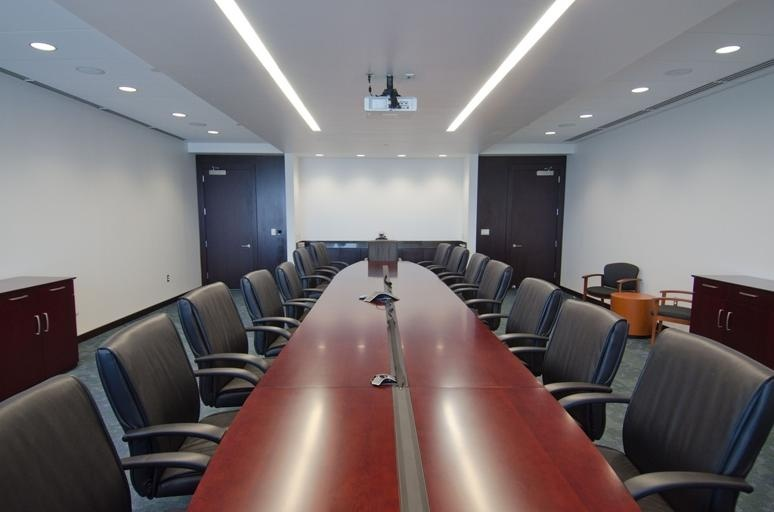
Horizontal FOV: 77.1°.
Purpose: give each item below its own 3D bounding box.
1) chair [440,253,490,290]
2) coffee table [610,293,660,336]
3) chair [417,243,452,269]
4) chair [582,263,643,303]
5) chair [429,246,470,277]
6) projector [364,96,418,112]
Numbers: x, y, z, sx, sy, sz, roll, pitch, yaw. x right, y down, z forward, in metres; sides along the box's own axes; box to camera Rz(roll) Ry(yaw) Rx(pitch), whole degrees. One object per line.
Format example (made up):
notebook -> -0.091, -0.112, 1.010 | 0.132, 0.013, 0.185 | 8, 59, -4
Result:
chair -> 0.930, 0.190, 5.967 | 0.514, 0.617, 0.445 | 3, 3, -13
coffee table -> 2.959, 0.693, 5.746 | 0.535, 0.522, 0.544 | 0, 2, 5
chair -> 0.758, -0.015, 7.818 | 0.424, 0.689, 0.443 | 1, 7, -12
chair -> 3.330, 0.518, 7.227 | 0.590, 0.822, 0.690 | -5, 8, -36
chair -> 0.921, 0.066, 6.874 | 0.444, 0.680, 0.478 | 1, 7, -12
projector -> 0.034, -1.527, 4.857 | 0.489, 0.148, 0.141 | 3, 7, 7
